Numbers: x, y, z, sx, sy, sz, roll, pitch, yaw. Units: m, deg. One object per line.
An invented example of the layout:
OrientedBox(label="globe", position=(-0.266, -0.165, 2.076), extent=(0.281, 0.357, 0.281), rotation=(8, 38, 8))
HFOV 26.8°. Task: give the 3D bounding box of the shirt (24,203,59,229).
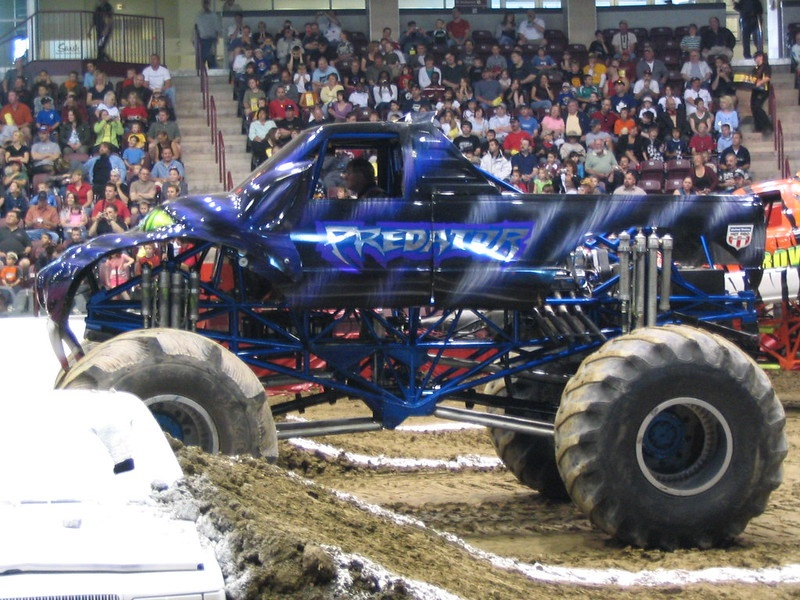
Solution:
OrientedBox(label="shirt", position=(-5.800, -1.327, 27.289), extent=(0.521, 0.447, 0.396), rotation=(2, -12, -11))

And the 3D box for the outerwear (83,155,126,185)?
OrientedBox(label="outerwear", position=(-4.974, -2.032, 28.337), extent=(0.811, 0.662, 0.429), rotation=(-1, -11, -3))

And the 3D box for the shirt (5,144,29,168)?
OrientedBox(label="shirt", position=(-6.530, -2.466, 28.771), extent=(0.309, 0.436, 0.157), rotation=(1, -43, -7))

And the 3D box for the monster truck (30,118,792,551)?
OrientedBox(label="monster truck", position=(0.065, 0.302, 20.785), extent=(8.400, 4.487, 4.513), rotation=(3, 2, -7))

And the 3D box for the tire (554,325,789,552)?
OrientedBox(label="tire", position=(3.079, 1.635, 19.218), extent=(2.327, 2.360, 0.910), rotation=(-3, 2, -13))

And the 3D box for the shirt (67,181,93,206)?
OrientedBox(label="shirt", position=(-5.217, -1.722, 27.810), extent=(0.482, 0.542, 0.324), rotation=(0, -9, -5))

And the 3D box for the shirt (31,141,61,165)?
OrientedBox(label="shirt", position=(-6.062, -2.476, 28.806), extent=(0.379, 0.435, 0.249), rotation=(1, -27, -10))

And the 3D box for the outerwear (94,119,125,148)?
OrientedBox(label="outerwear", position=(-5.043, -2.842, 29.356), extent=(0.592, 0.493, 0.726), rotation=(3, 26, -4))
